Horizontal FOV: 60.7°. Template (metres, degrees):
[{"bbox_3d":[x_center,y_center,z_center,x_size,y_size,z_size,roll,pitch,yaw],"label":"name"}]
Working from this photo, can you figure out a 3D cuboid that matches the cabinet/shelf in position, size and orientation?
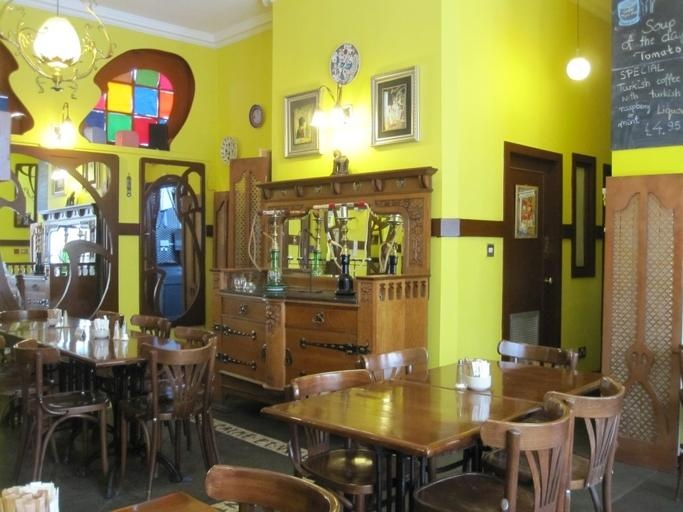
[{"bbox_3d":[-0.119,0.295,5.660,0.854,2.476,2.338,8,-8,-44],"label":"cabinet/shelf"}]

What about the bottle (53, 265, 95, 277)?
[{"bbox_3d":[-3.739,0.190,8.135,0.581,0.156,0.184,1,0,-25],"label":"bottle"}]

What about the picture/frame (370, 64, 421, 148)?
[{"bbox_3d":[0.564,-1.517,5.932,0.074,1.068,0.830,2,-2,-44],"label":"picture/frame"}]

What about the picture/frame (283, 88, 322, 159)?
[{"bbox_3d":[-0.432,-1.531,6.740,0.073,1.103,0.786,-1,2,-38],"label":"picture/frame"}]

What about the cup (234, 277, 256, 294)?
[{"bbox_3d":[-1.065,0.322,6.331,0.223,0.098,0.151,4,0,20],"label":"cup"}]

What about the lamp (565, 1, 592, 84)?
[{"bbox_3d":[2.714,-2.482,6.723,0.263,1.011,1.082,1,0,23],"label":"lamp"}]

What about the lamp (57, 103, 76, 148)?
[{"bbox_3d":[-3.445,-1.673,7.380,0.226,0.475,0.255,1,0,39],"label":"lamp"}]

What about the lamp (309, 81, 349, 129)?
[{"bbox_3d":[-0.129,-1.660,6.398,0.464,0.481,0.451,1,0,16],"label":"lamp"}]
